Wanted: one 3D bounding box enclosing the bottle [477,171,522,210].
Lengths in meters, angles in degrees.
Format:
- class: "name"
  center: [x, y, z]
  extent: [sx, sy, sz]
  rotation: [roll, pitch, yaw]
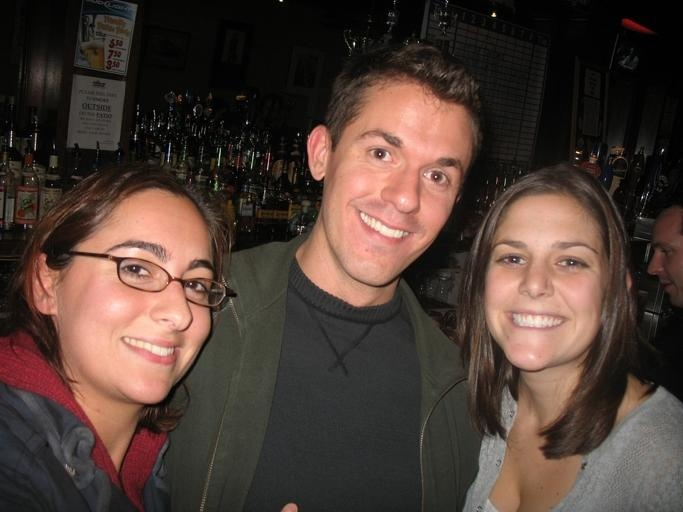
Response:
- class: "bottle"
  center: [1.293, -0.606, 4.744]
  extent: [0.424, 0.420, 0.110]
  rotation: [7, 2, -10]
